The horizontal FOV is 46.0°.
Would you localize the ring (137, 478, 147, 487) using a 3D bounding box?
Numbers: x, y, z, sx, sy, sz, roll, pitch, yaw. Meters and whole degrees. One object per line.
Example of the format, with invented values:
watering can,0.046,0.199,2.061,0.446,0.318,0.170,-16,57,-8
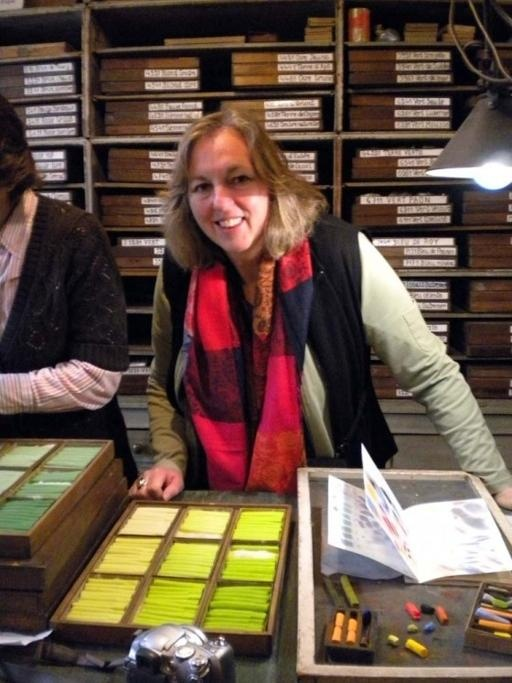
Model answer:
ring,-0.254,0.312,1.338,0.015,0.004,0.016,-17,34,12
